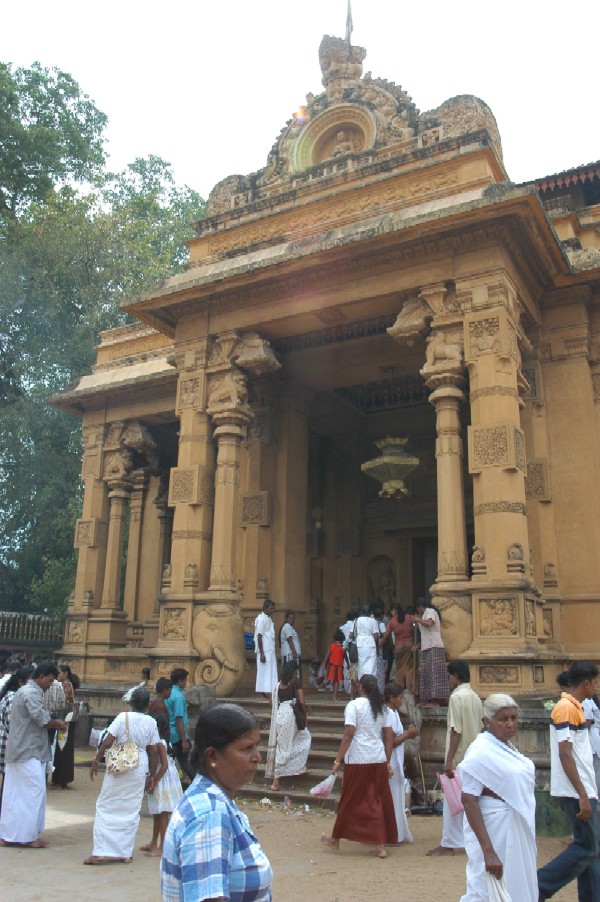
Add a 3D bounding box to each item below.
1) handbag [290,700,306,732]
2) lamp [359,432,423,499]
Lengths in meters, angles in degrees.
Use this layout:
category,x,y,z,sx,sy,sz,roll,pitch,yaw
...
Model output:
category,x,y,z,sx,sy,sz,roll,pitch,yaw
handbag,-0.005,2.752,8.293,0.098,0.267,0.193,0,-3,-4
lamp,1.392,0.171,12.508,0.699,0.904,0.835,2,-15,-9
